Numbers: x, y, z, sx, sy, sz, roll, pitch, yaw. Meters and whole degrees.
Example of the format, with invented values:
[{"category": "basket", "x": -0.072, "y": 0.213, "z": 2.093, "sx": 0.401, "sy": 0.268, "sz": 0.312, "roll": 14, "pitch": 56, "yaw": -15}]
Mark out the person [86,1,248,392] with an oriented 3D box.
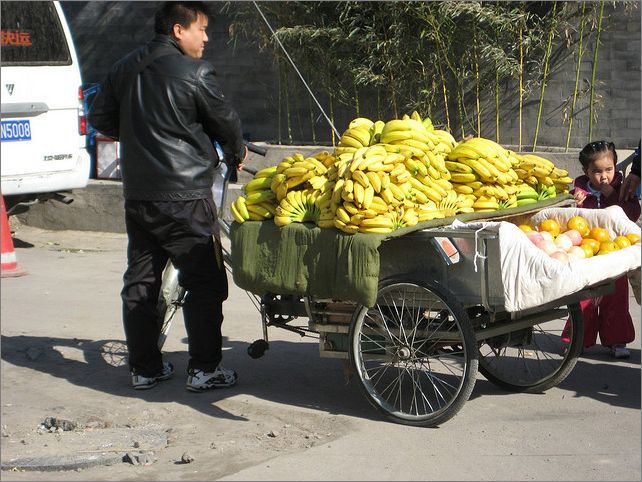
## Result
[{"category": "person", "x": -0.992, "y": -0.283, "z": 5.278, "sx": 0.959, "sy": 2.634, "sz": 0.523, "roll": 0, "pitch": 13, "yaw": 0}]
